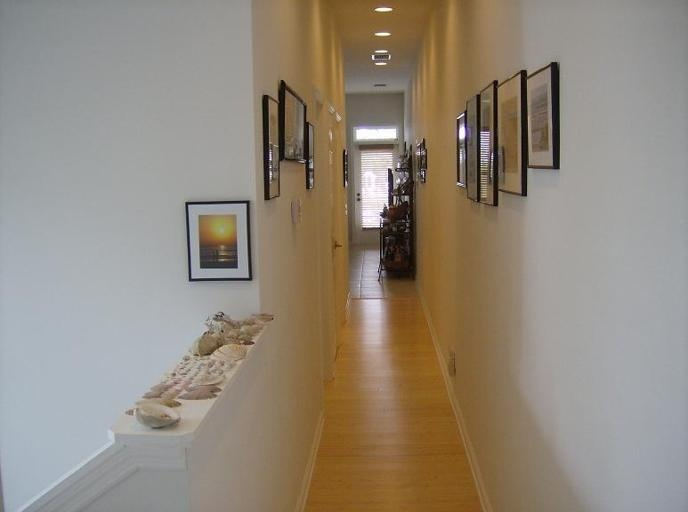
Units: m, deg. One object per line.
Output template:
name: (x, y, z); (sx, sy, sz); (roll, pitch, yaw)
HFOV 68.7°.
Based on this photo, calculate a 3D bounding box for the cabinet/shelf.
cabinet/shelf: (0.989, -0.578, 9.362); (0.747, 2.615, 2.153); (1, 5, 3)

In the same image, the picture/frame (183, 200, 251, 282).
picture/frame: (-0.553, -0.075, 2.237); (0.298, 0.430, 0.015); (1, 3, 6)
